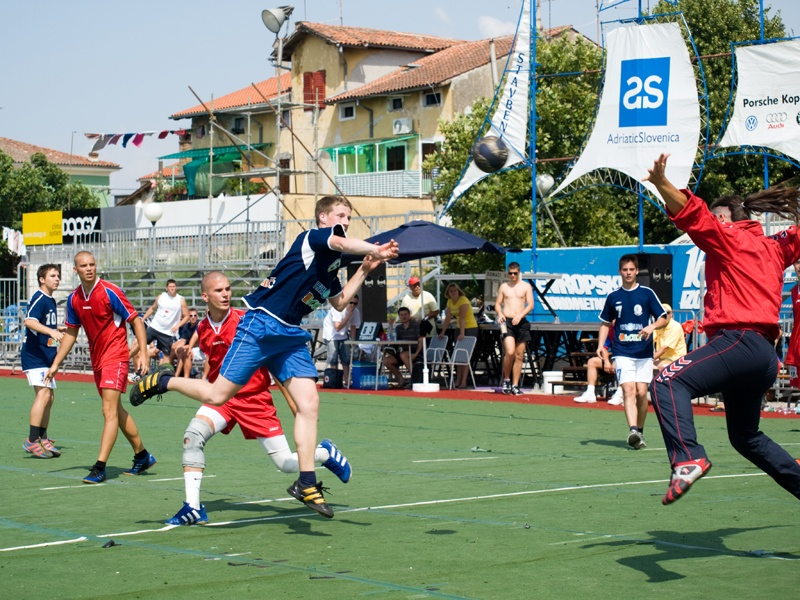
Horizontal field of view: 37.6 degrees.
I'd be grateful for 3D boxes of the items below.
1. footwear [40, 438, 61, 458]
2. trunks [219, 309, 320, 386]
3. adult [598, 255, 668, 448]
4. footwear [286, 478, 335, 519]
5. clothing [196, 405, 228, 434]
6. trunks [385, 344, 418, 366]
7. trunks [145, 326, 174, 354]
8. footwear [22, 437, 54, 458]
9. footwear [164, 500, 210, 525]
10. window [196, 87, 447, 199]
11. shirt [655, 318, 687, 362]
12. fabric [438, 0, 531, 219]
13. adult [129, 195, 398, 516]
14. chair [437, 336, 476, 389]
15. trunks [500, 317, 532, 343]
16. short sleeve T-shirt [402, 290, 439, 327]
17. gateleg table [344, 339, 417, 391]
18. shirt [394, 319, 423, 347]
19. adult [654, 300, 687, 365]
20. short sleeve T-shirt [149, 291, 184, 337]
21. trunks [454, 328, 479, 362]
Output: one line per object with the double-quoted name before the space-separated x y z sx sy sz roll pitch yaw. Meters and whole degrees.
"footwear" -3.932 1.682 13.168 0.313 0.127 0.117 30 13 33
"trunks" -1.084 0.380 9.779 0.857 0.662 0.378 11 -2 -38
"adult" 2.764 0.611 13.828 0.774 2.191 0.869 -5 6 -18
"footwear" -0.691 1.606 9.551 0.464 0.212 0.158 26 -8 29
"clothing" -1.584 1.008 9.990 0.186 0.228 0.236 -19 45 -33
"trunks" 0.072 1.096 22.810 0.487 0.465 0.495 -1 0 23
"trunks" -4.556 0.767 22.375 0.535 0.349 0.209 28 9 4
"footwear" -4.082 1.675 13.158 0.390 0.180 0.166 14 8 15
"footwear" -1.743 1.762 9.693 0.397 0.204 0.143 0 -2 -12
"window" -4.222 -6.412 53.637 11.214 3.802 8.025 1 5 11
"shirt" 3.876 0.620 17.252 0.442 0.556 0.564 -7 8 -31
"fabric" 2.254 -4.637 27.055 1.645 4.278 5.444 -1 -2 3
"adult" -0.988 0.573 9.626 1.992 2.382 0.735 -1 -2 4
"chair" 0.972 1.122 21.387 0.656 0.946 0.766 -2 -4 44
"trunks" 1.996 0.567 20.487 0.571 0.514 0.398 1 -7 -10
"short sleeve T-shirt" 0.389 0.116 23.640 0.954 0.770 0.520 -2 -16 0
"gateleg table" -0.432 1.263 22.971 1.410 1.022 1.353 2 -6 -12
"shirt" 0.094 0.629 22.278 0.664 0.552 0.355 -5 -12 31
"adult" 3.811 0.529 17.159 0.692 0.908 0.594 1 8 0
"short sleeve T-shirt" -4.626 0.268 23.199 0.635 0.799 0.452 12 7 -5
"trunks" 1.202 0.833 21.624 0.405 0.618 0.609 -1 -2 4
